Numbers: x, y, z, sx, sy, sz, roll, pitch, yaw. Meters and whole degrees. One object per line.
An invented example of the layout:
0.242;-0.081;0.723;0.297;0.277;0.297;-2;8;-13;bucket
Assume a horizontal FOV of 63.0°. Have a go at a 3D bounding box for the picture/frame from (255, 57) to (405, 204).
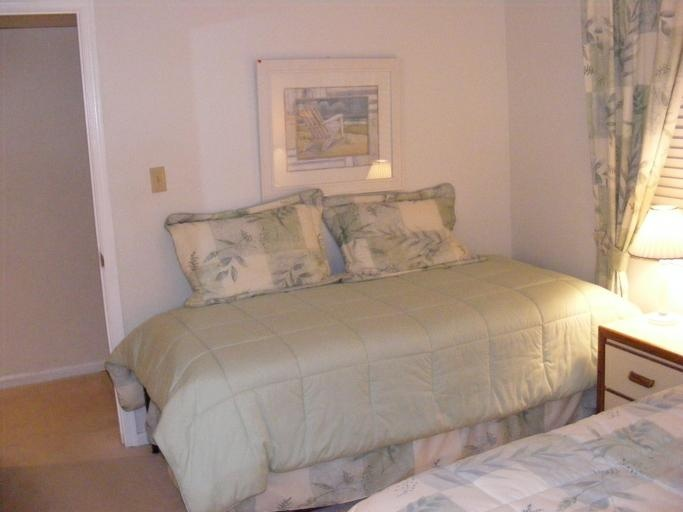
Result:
-0.104;-0.778;3.380;0.878;0.808;0.075;-4;8;-21;picture/frame
